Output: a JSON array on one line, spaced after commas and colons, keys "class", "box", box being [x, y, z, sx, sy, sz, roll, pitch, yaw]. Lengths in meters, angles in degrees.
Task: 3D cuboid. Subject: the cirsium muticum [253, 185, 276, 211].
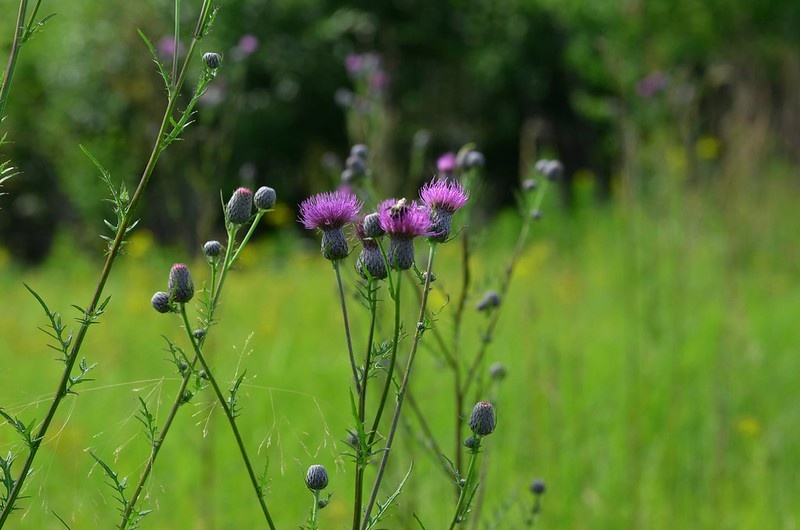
[{"class": "cirsium muticum", "box": [-0.760, -0.367, 6.716, 0.097, 0.160, 0.117, 8, 14, 14]}]

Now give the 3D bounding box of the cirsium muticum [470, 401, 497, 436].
[{"class": "cirsium muticum", "box": [0.477, 0.865, 6.631, 0.143, 0.209, 0.130, -2, 3, -29]}]

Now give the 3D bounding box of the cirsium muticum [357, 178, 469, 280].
[{"class": "cirsium muticum", "box": [0.064, -0.286, 6.727, 0.486, 0.557, 0.500, -4, 15, 40]}]

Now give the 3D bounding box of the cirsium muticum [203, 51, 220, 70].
[{"class": "cirsium muticum", "box": [-1.056, -1.153, 6.609, 0.078, 0.102, 0.085, 8, 13, 39]}]

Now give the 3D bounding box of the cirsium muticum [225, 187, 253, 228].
[{"class": "cirsium muticum", "box": [-0.914, -0.356, 6.716, 0.144, 0.286, 0.172, 11, 2, -23]}]

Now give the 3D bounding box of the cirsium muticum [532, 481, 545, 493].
[{"class": "cirsium muticum", "box": [0.844, 1.344, 7.139, 0.064, 0.065, 0.064, -1, -9, -43]}]

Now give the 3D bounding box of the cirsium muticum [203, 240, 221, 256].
[{"class": "cirsium muticum", "box": [-1.057, -0.092, 6.693, 0.066, 0.105, 0.088, 1, 8, 2]}]

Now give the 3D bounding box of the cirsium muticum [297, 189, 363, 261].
[{"class": "cirsium muticum", "box": [-0.387, -0.216, 6.757, 0.264, 0.423, 0.313, -4, -2, 33]}]

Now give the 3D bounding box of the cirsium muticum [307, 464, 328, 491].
[{"class": "cirsium muticum", "box": [-0.461, 1.191, 6.612, 0.093, 0.166, 0.130, 1, -12, -3]}]
